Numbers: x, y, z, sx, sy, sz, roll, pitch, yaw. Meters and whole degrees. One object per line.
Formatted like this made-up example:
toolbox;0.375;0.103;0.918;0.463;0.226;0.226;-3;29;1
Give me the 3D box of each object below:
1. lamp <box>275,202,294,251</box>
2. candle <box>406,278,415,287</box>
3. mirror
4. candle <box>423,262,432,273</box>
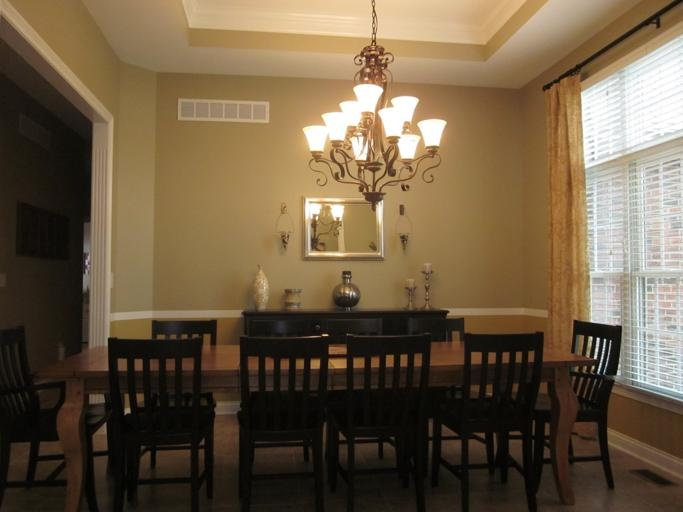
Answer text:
lamp;-0.643;-0.352;6.508;0.177;0.562;0.056;1;-3;-6
candle;0.788;0.293;6.488;0.087;0.105;0.087;2;3;20
mirror;-0.035;-0.320;6.508;0.676;0.552;0.030;1;-6;-9
candle;0.981;0.128;6.500;0.088;0.095;0.094;2;-2;14
